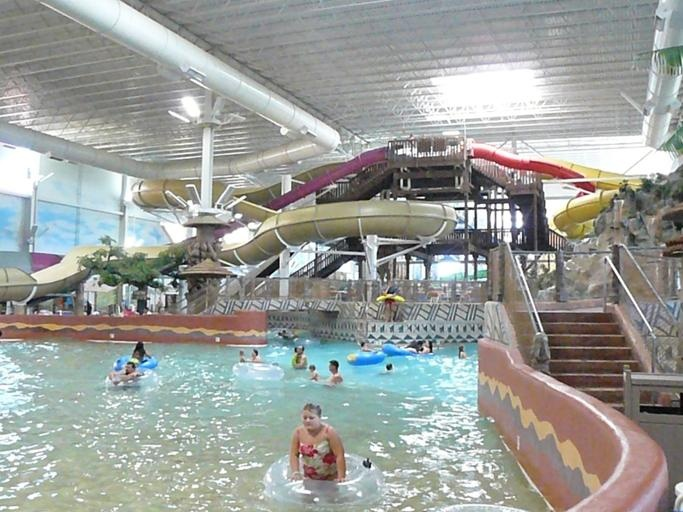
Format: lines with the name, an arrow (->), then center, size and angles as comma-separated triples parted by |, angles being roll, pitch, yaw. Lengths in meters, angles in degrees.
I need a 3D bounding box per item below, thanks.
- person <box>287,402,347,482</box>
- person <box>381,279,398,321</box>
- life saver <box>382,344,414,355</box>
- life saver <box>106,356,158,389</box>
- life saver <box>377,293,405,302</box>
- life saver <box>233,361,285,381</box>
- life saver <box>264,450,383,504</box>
person -> -0.279, 1.980, 5.935 | 0.619, 0.801, 0.249 | -1, -4, 11
person -> 1.559, 1.449, 18.125 | 0.431, 1.066, 0.373 | -4, -7, 39
life saver -> 1.583, 2.641, 15.555 | 1.010, 0.287, 0.415 | 1, -4, -18
life saver -> -4.583, 2.533, 11.963 | 0.536, 0.342, 0.854 | 3, -3, -1
life saver -> 1.604, 1.368, 18.106 | 0.880, 0.351, 0.434 | -1, -4, 5
life saver -> -1.948, 2.650, 12.779 | 1.502, 0.298, 0.829 | -4, -6, 45
life saver -> -0.261, 2.384, 5.836 | 0.651, 0.149, 0.621 | 0, -1, 21
